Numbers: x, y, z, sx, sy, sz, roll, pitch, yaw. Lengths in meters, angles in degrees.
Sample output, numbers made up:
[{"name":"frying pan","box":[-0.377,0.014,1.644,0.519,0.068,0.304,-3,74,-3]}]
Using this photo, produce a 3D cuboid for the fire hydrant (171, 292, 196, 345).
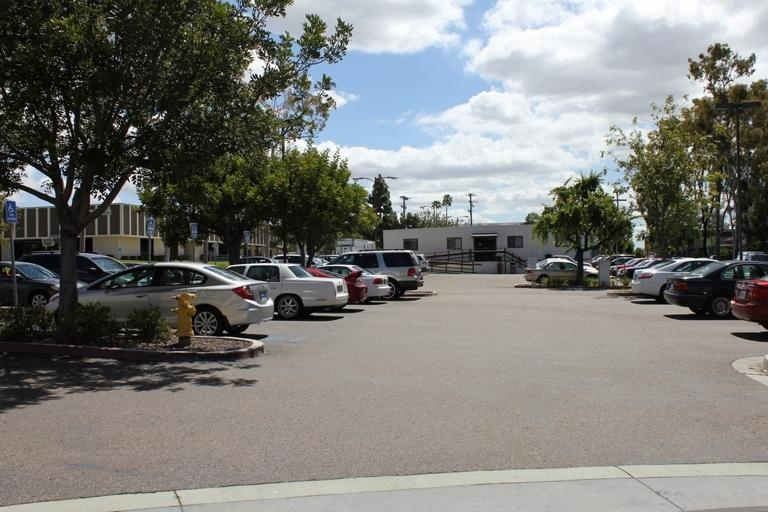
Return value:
[{"name":"fire hydrant","box":[-4.290,1.356,13.361,0.377,1.198,0.610,-1,0,-18]}]
